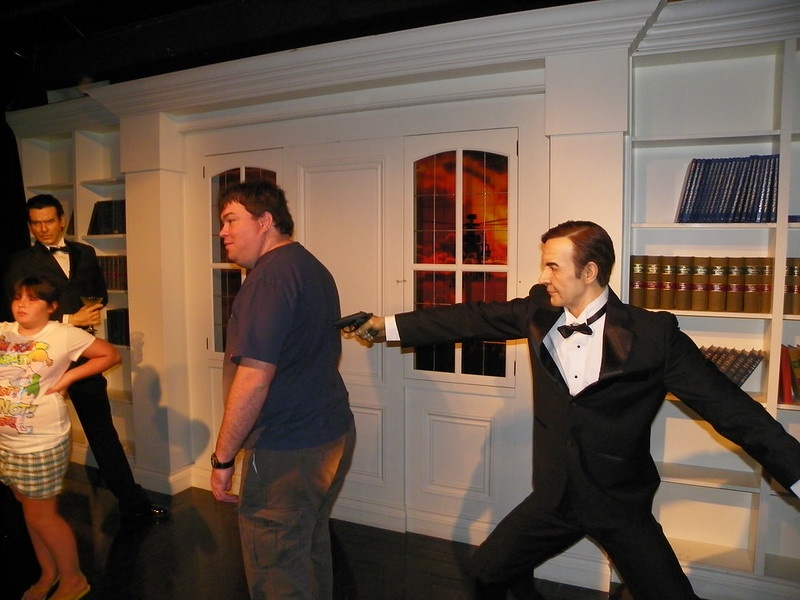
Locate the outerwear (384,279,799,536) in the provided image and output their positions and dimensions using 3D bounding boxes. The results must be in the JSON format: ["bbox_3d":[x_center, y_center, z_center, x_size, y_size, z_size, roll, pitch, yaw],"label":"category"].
[{"bbox_3d":[1.090,0.559,3.495,1.536,0.786,0.352,12,14,28],"label":"outerwear"}]

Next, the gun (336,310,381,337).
[{"bbox_3d":[-0.212,0.129,3.462,0.238,0.154,0.033,-24,44,0],"label":"gun"}]

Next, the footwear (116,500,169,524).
[{"bbox_3d":[-1.654,1.388,4.341,0.317,0.127,0.123,0,1,-8],"label":"footwear"}]

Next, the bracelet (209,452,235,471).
[{"bbox_3d":[-0.813,0.743,3.078,0.102,0.107,0.094,-3,14,-13],"label":"bracelet"}]

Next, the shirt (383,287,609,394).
[{"bbox_3d":[0.275,0.198,3.789,1.120,0.281,0.443,-8,-15,-35],"label":"shirt"}]

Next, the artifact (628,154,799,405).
[{"bbox_3d":[1.738,-0.157,3.656,1.237,1.187,0.287,2,4,20],"label":"artifact"}]
